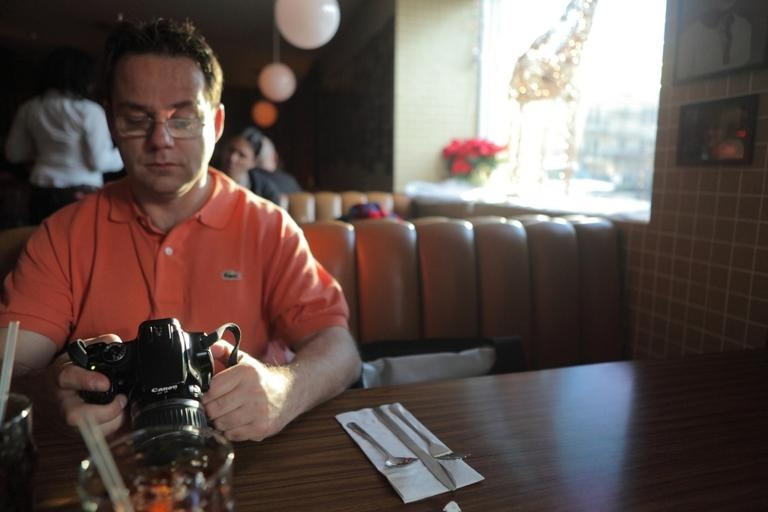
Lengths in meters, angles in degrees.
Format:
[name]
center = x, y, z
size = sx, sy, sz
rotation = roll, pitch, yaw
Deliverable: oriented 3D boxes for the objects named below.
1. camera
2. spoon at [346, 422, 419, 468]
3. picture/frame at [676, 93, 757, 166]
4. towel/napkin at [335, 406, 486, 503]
[camera]
center = -0.466, 0.267, 1.160
size = 0.334, 0.261, 0.165
rotation = 1, -30, -16
[spoon]
center = 0.001, 0.358, 1.176
size = 0.052, 0.023, 0.157
rotation = -9, 25, -33
[picture/frame]
center = 0.979, -0.372, 1.675
size = 0.215, 0.223, 0.015
rotation = 5, 10, 39
[towel/napkin]
center = 0.045, 0.393, 1.188
size = 0.166, 0.110, 0.293
rotation = -8, 8, -34
